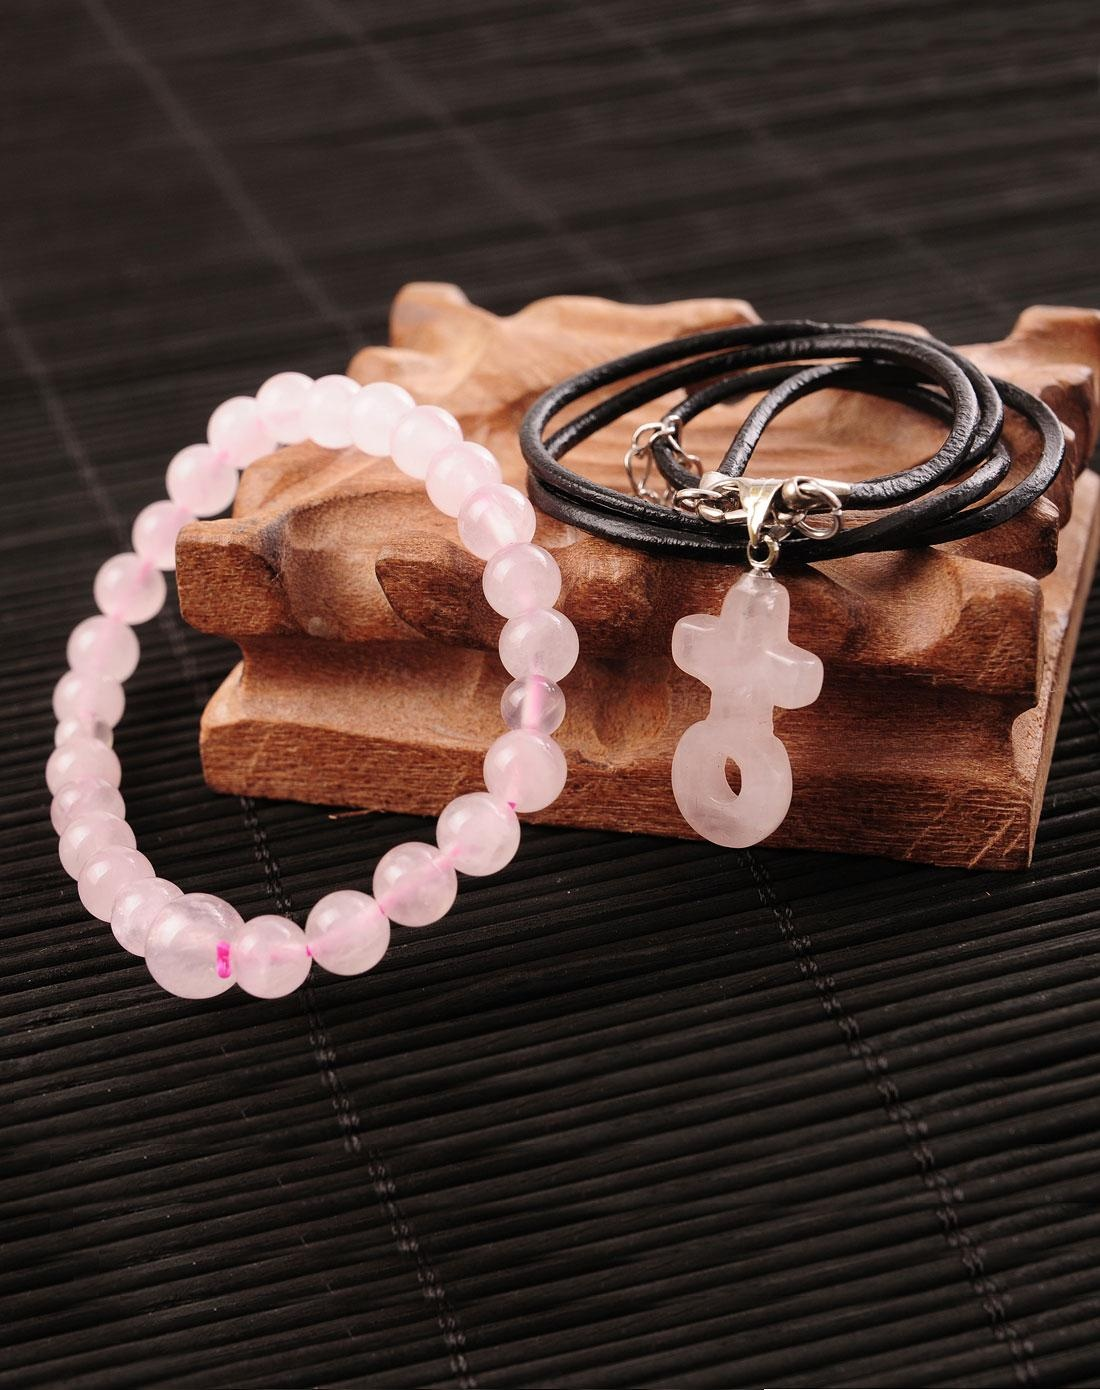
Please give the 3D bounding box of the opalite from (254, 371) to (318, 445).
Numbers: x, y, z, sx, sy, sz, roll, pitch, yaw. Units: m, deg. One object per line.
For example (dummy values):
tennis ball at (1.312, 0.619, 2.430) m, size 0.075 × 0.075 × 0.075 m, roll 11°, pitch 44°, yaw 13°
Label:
opalite at (-0.197, -0.224, 1.365) m, size 0.080 × 0.054 × 0.015 m, roll -4°, pitch 15°, yaw -6°

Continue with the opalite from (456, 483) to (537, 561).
opalite at (-0.038, -0.115, 1.163) m, size 0.067 × 0.047 × 0.062 m, roll -2°, pitch 30°, yaw -8°

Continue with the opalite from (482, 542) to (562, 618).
opalite at (-0.020, -0.074, 1.137) m, size 0.065 × 0.050 × 0.053 m, roll 0°, pitch 5°, yaw 5°

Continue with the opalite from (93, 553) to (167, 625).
opalite at (-0.325, -0.080, 1.346) m, size 0.069 × 0.035 × 0.049 m, roll -1°, pitch 88°, yaw -22°

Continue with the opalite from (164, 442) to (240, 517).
opalite at (-0.281, -0.170, 1.386) m, size 0.076 × 0.053 × 0.040 m, roll 0°, pitch 12°, yaw -26°
